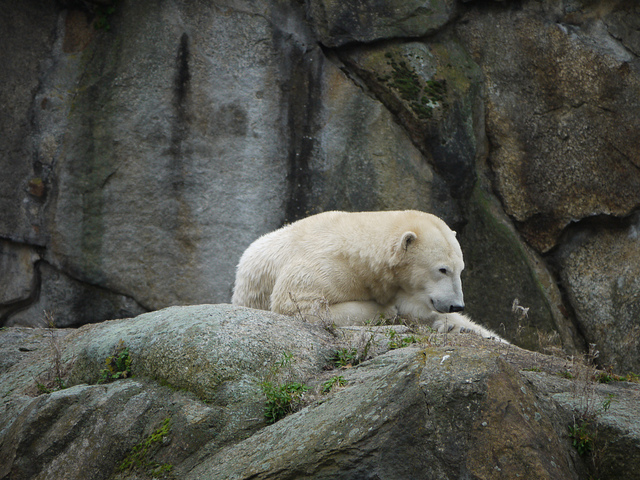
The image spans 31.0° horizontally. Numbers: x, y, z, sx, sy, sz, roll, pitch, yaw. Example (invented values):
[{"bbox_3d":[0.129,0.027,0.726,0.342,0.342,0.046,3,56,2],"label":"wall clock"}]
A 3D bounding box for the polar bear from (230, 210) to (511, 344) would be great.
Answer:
[{"bbox_3d":[0.651,0.342,14.915,2.939,1.657,1.476,4,88,24],"label":"polar bear"}]
